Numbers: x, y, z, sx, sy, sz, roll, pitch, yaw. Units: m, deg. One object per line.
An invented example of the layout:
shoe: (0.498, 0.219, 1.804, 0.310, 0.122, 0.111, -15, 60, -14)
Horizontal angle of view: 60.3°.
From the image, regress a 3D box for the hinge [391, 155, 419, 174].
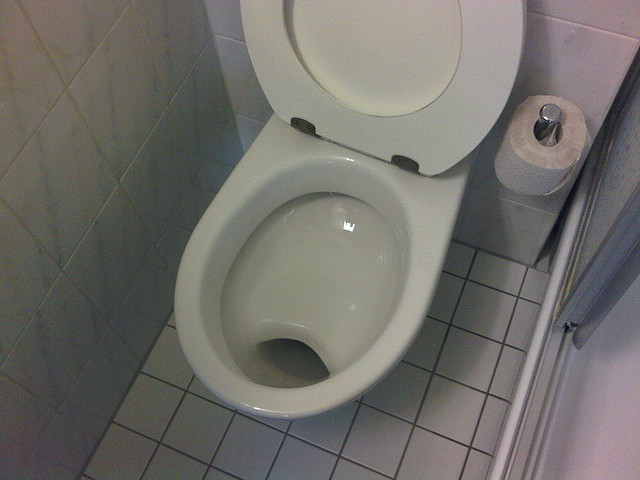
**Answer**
hinge: (0.187, -0.167, 1.206, 0.050, 0.037, 0.008, 18, 69, 17)

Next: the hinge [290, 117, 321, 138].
hinge: (-0.030, -0.255, 1.244, 0.050, 0.021, 0.008, 23, 72, -3)

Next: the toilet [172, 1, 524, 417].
toilet: (0.046, -0.067, 1.234, 0.404, 0.752, 0.685, 20, 73, 11)
